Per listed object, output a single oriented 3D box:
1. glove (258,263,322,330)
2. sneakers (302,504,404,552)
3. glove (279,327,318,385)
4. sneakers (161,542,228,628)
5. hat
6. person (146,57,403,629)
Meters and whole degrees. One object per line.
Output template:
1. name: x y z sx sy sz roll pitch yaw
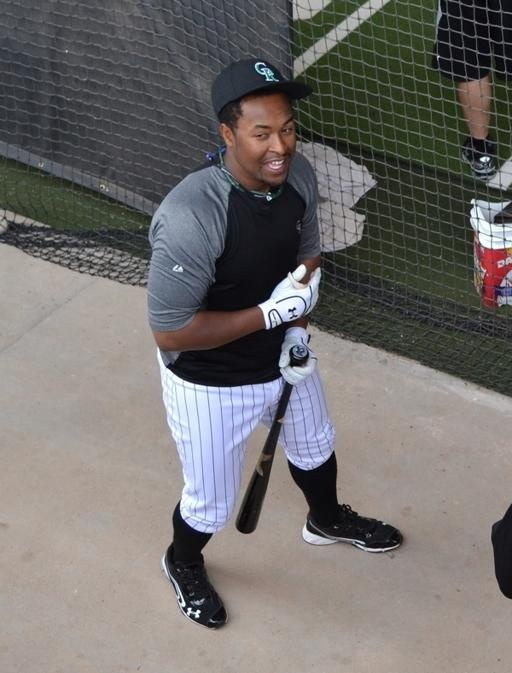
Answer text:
1. glove: 0.111 -0.097 2.130 0.154 0.093 0.211 -10 72 1
2. sneakers: 0.365 0.713 2.725 0.420 0.167 0.143 4 51 10
3. glove: 0.119 0.060 2.280 0.122 0.079 0.175 35 43 -4
4. sneakers: -0.217 0.853 2.564 0.134 0.120 0.309 -22 55 -33
5. hat: 0.012 -0.685 1.922 0.267 0.111 0.152 -15 10 -12
6. person: 0.052 0.069 2.281 0.854 1.696 0.571 -18 31 -27
